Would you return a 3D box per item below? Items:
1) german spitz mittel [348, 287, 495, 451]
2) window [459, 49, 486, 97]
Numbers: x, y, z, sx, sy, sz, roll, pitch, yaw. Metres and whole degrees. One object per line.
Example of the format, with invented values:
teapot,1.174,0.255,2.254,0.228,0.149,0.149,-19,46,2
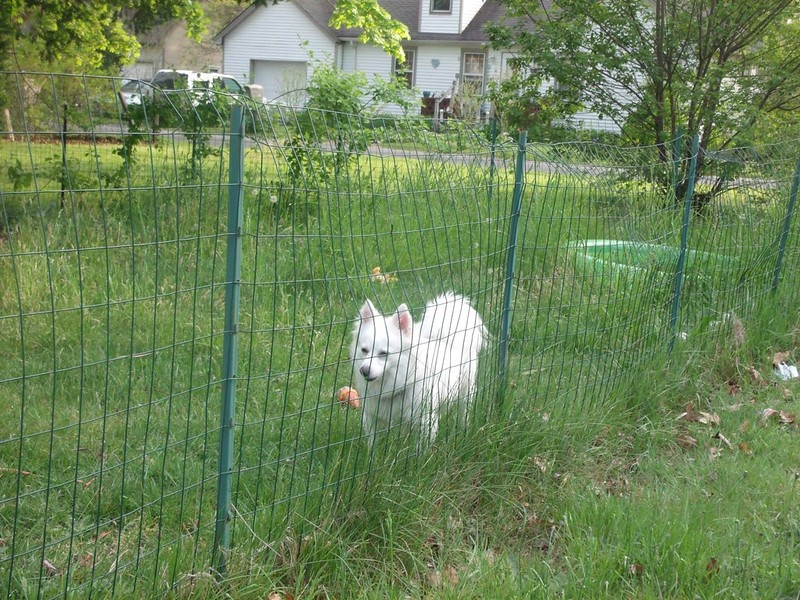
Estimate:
german spitz mittel,0.144,0.401,6.594,1.075,1.217,1.684,3,16,-4
window,2.923,-9.101,34.216,0.939,1.950,0.164,2,42,5
